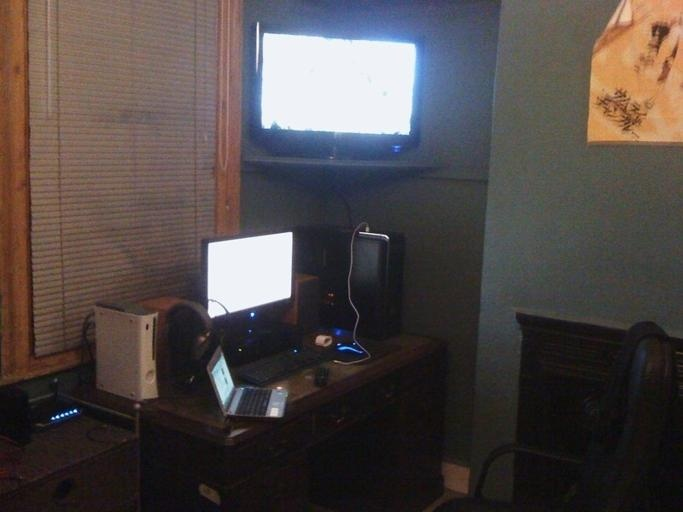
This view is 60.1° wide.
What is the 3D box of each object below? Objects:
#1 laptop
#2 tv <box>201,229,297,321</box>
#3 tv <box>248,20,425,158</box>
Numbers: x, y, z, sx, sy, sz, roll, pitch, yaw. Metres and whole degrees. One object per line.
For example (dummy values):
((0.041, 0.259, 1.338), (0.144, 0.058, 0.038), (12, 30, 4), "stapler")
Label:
((-0.367, 0.510, 2.387), (0.388, 0.191, 0.385), (6, 7, 24), "laptop")
((-0.416, 0.076, 2.789), (0.041, 0.360, 0.571), (8, 14, 36), "tv")
((-0.122, -0.899, 3.327), (1.017, 0.603, 0.541), (-6, 12, -30), "tv")
